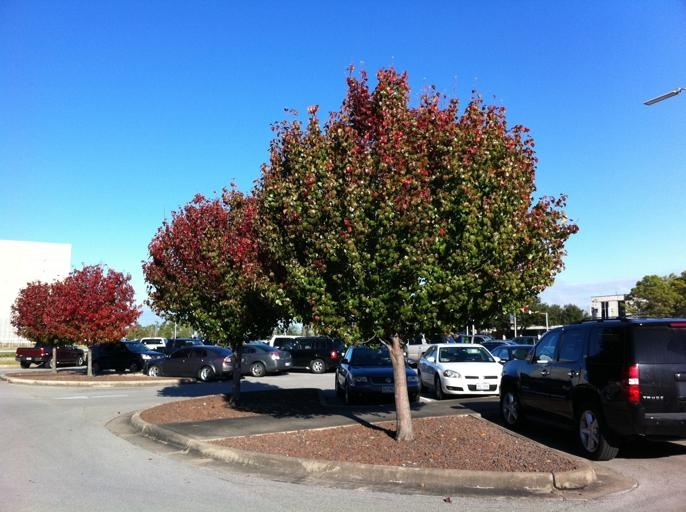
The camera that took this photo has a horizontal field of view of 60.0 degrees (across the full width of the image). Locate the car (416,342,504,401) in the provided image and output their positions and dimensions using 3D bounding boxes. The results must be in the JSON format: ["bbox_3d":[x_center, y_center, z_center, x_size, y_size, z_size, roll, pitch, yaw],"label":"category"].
[{"bbox_3d":[3.629,3.573,18.601,2.571,1.721,2.071,-3,-10,21],"label":"car"}]

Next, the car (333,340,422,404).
[{"bbox_3d":[0.666,3.596,18.180,1.648,1.716,2.846,1,-9,1],"label":"car"}]

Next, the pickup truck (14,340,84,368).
[{"bbox_3d":[-18.564,6.299,37.649,3.942,1.595,2.895,6,-11,-25],"label":"pickup truck"}]
